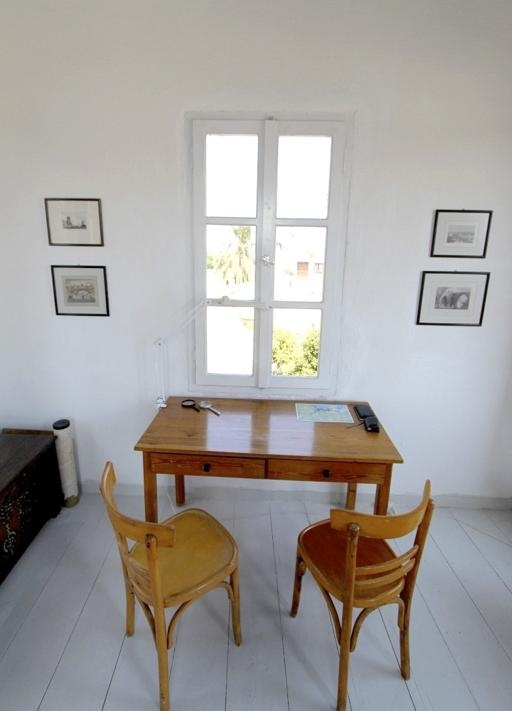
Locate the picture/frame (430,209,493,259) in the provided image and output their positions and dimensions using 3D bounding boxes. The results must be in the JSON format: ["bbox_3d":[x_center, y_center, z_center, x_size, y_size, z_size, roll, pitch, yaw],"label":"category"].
[{"bbox_3d":[0.925,-0.554,2.289,0.200,0.174,0.021,1,16,2],"label":"picture/frame"}]

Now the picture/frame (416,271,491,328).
[{"bbox_3d":[0.921,-0.272,2.366,0.247,0.215,0.026,1,19,2],"label":"picture/frame"}]

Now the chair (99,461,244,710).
[{"bbox_3d":[-0.302,0.841,1.825,0.399,0.660,0.387,-23,42,-32],"label":"chair"}]

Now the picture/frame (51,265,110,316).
[{"bbox_3d":[-0.831,-0.319,2.421,0.236,0.234,0.010,0,23,2],"label":"picture/frame"}]

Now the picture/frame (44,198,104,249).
[{"bbox_3d":[-0.833,-0.616,2.338,0.206,0.180,0.017,1,24,1],"label":"picture/frame"}]
